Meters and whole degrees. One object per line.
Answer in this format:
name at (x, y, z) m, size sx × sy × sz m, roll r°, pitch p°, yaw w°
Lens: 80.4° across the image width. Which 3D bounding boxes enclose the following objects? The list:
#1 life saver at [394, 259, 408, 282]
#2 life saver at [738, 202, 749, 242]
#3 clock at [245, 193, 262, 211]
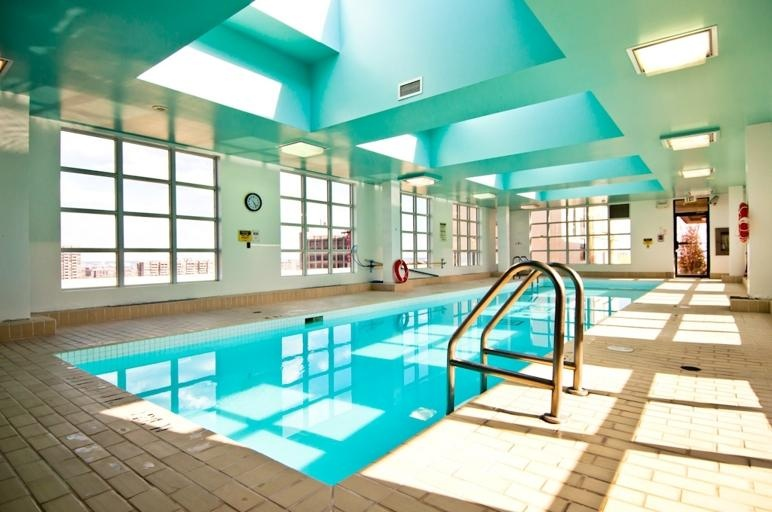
life saver at (0.430, 0.425, 12.650) m, size 0.214 × 0.702 × 0.490 m, roll 5°, pitch 8°, yaw 31°
life saver at (6.251, -0.590, 7.928) m, size 0.148 × 0.646 × 0.272 m, roll 5°, pitch 8°, yaw 30°
clock at (-2.946, -1.196, 10.155) m, size 0.119 × 0.417 × 0.445 m, roll 6°, pitch 8°, yaw 31°
